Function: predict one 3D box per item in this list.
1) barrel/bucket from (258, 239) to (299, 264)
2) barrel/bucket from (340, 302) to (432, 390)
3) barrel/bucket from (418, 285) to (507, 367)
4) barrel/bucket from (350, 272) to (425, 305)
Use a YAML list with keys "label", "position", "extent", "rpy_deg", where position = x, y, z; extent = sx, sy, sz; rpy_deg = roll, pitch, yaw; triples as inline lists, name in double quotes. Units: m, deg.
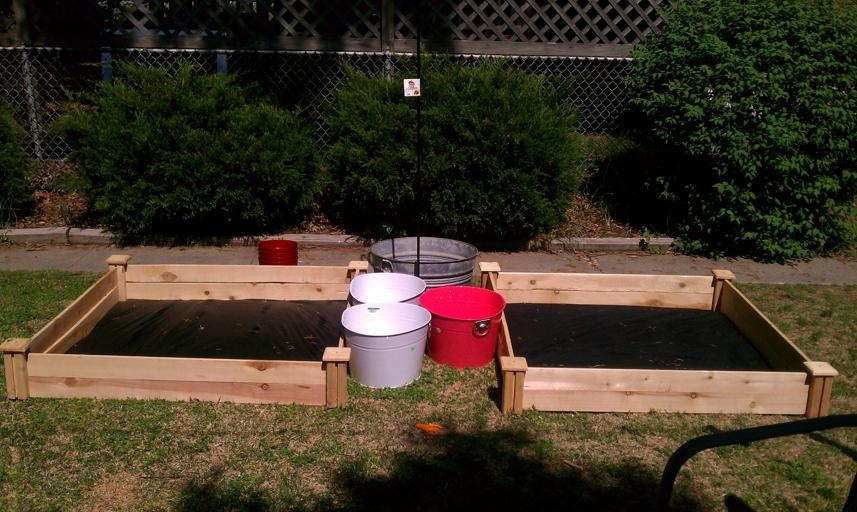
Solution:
- label: "barrel/bucket"
  position: [-2.078, -0.070, 9.058]
  extent: [0.380, 0.358, 0.382]
  rpy_deg: [2, 11, 0]
- label: "barrel/bucket"
  position: [-0.481, 0.953, 7.330]
  extent: [0.968, 0.634, 0.854]
  rpy_deg: [1, 36, -7]
- label: "barrel/bucket"
  position: [0.366, 0.822, 7.737]
  extent: [0.996, 0.643, 0.999]
  rpy_deg: [1, 20, 0]
- label: "barrel/bucket"
  position: [-0.505, 0.426, 8.008]
  extent: [0.927, 0.341, 0.657]
  rpy_deg: [4, 35, -1]
